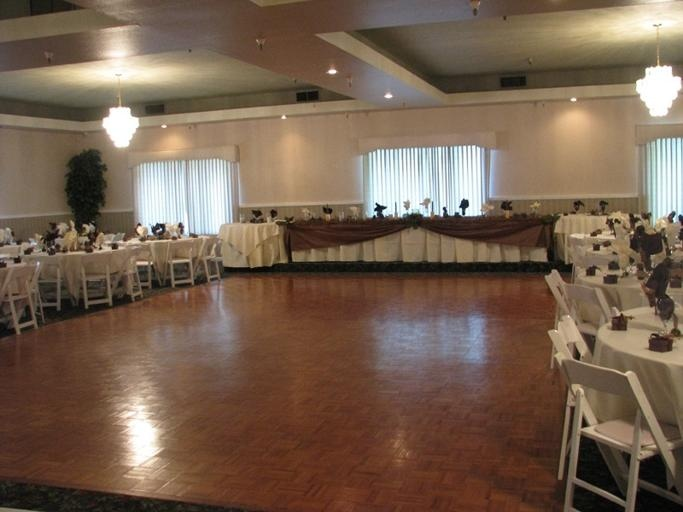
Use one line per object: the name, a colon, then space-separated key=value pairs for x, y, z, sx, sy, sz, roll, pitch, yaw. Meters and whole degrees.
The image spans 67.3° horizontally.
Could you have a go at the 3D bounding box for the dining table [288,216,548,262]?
dining table: x=1.729 y=-0.340 z=11.635 sx=5.739 sy=1.136 sz=0.419 roll=-2 pitch=4 yaw=12

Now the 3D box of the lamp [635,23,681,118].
lamp: x=6.048 y=-3.401 z=9.659 sx=0.590 sy=1.649 sz=2.916 roll=0 pitch=5 yaw=34

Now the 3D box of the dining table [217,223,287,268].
dining table: x=-2.063 y=-0.363 z=12.241 sx=1.140 sy=0.775 sz=1.118 roll=-11 pitch=13 yaw=-42
